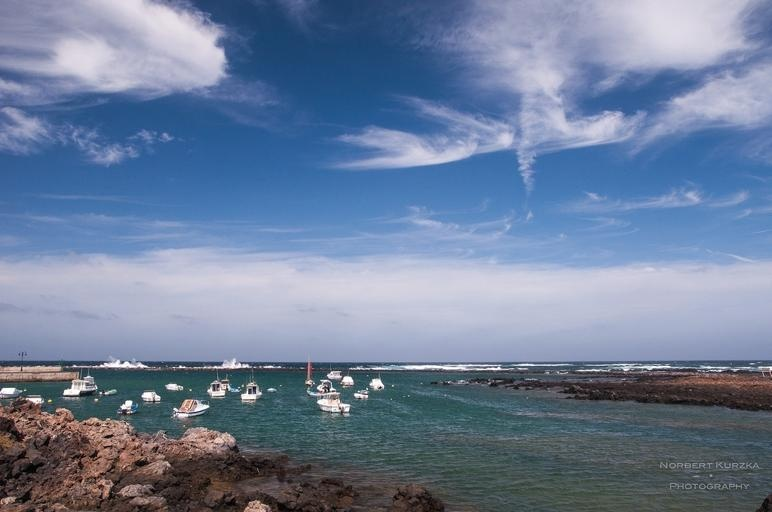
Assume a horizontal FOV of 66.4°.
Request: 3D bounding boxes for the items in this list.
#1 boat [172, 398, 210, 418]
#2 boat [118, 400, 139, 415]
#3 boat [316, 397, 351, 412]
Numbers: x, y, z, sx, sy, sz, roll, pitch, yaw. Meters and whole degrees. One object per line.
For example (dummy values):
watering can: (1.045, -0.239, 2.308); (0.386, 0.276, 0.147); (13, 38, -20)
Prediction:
boat: (-29.857, 23.381, 91.843); (3.290, 1.551, 5.579); (0, -4, 17)
boat: (-41.965, 24.295, 95.265); (2.763, 1.939, 4.775); (3, -11, -8)
boat: (-8.565, 24.277, 96.099); (4.832, 2.238, 2.365); (-7, -13, 37)
